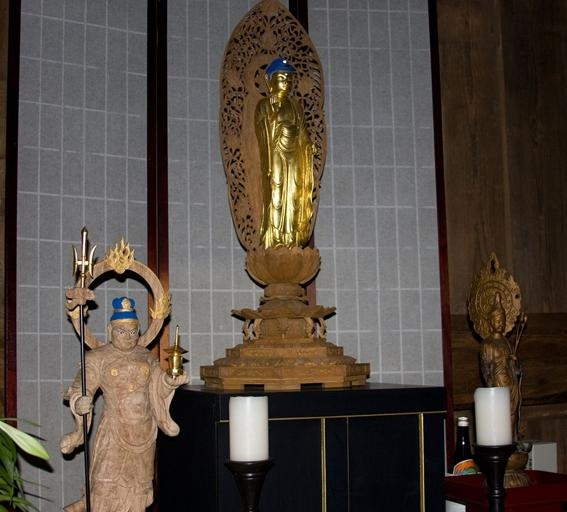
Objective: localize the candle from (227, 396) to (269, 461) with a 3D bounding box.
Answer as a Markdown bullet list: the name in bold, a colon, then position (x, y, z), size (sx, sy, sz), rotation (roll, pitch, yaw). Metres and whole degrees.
- **candle**: position (-0.101, 0.494, 3.293), size (0.126, 0.265, 0.147), rotation (1, -12, -9)

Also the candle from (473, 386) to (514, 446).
- **candle**: position (0.639, 0.479, 3.437), size (0.106, 0.177, 0.110), rotation (-2, -7, 10)

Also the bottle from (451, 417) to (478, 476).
- **bottle**: position (0.736, 0.749, 4.578), size (0.104, 0.228, 0.519), rotation (-2, -8, 9)
